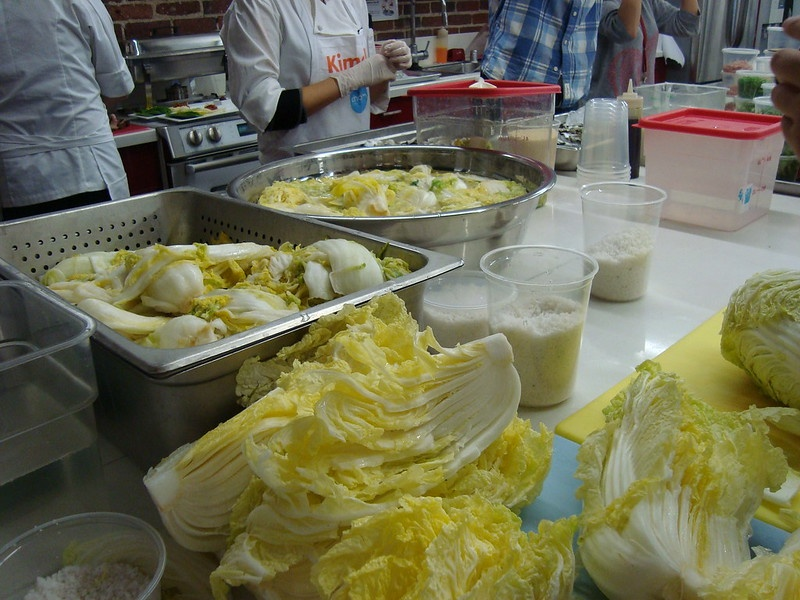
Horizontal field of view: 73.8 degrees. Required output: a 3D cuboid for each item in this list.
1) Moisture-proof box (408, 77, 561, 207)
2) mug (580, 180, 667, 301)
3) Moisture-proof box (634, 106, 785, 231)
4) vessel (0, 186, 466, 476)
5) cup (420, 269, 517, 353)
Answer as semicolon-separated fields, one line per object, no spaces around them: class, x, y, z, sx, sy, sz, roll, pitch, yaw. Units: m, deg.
Moisture-proof box;0.336;-0.620;2.242;0.522;0.463;0.577;-12;16;-38
mug;0.615;-0.191;1.503;0.237;0.338;0.261;-6;22;7
Moisture-proof box;1.075;-0.463;1.986;0.469;0.380;0.429;17;31;40
vessel;-0.425;-0.031;1.156;0.974;0.280;0.585;23;39;40
cup;0.150;0.010;1.202;0.178;0.162;0.201;0;9;43
